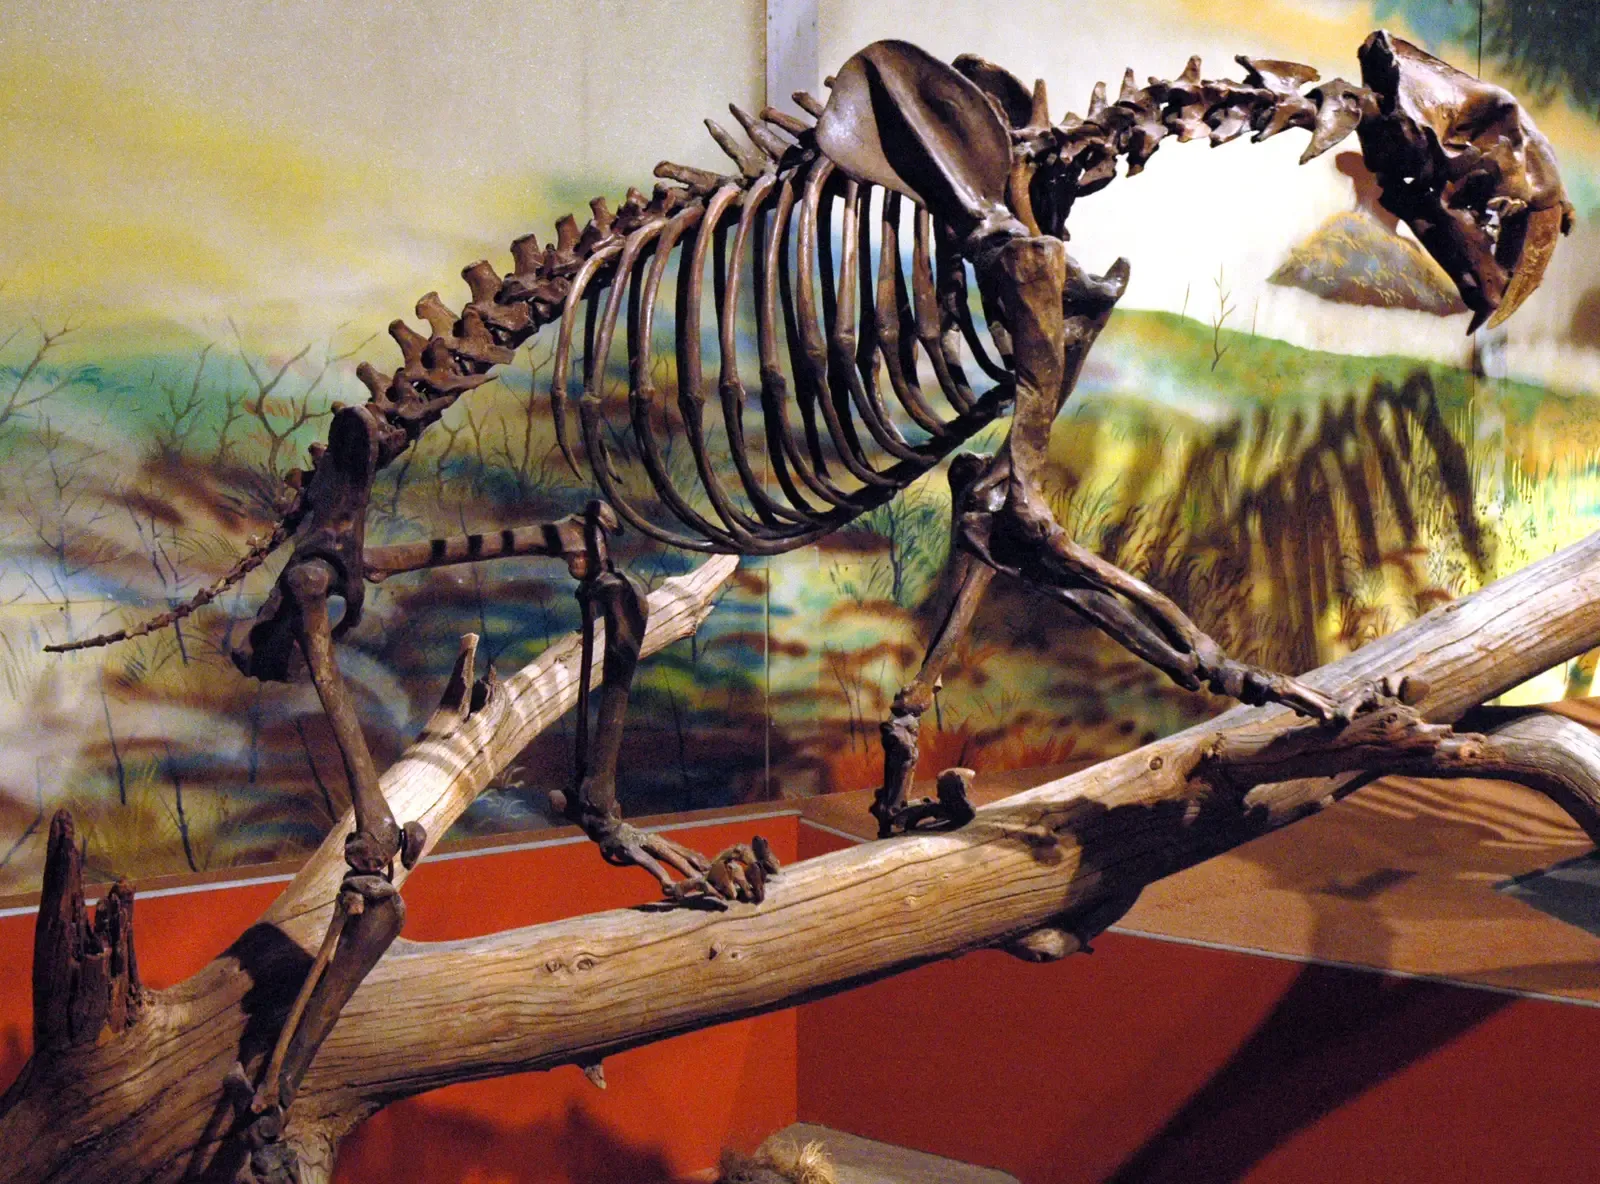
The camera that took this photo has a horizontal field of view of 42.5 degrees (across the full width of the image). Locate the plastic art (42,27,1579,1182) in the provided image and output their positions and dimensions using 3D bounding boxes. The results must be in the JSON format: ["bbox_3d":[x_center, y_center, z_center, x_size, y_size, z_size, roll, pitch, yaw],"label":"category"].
[{"bbox_3d":[0.041,-0.129,4.903,2.875,2.579,1.939,0,11,-19],"label":"plastic art"}]
